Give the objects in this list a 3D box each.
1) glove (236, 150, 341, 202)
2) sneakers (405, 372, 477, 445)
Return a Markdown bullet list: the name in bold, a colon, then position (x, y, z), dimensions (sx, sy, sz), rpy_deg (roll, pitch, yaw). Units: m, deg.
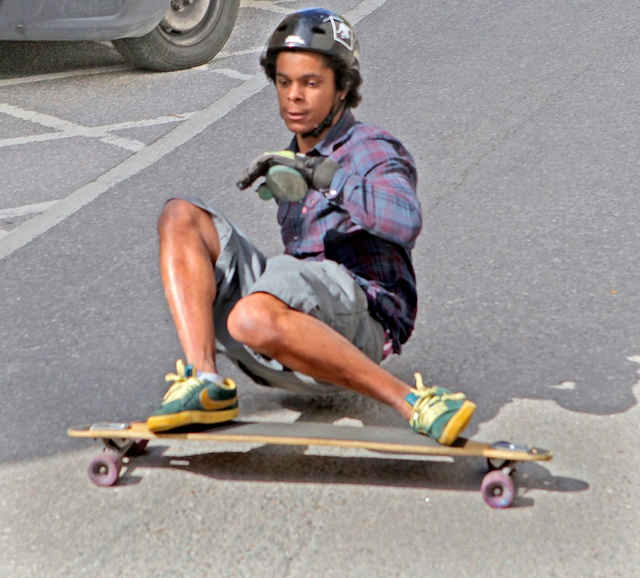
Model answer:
- **glove**: position (-0.097, -0.376, 2.563), dimensions (0.316, 0.120, 0.168), rpy_deg (-25, 75, 7)
- **sneakers**: position (0.349, 0.376, 2.276), dimensions (0.223, 0.116, 0.165), rpy_deg (27, 61, 27)
